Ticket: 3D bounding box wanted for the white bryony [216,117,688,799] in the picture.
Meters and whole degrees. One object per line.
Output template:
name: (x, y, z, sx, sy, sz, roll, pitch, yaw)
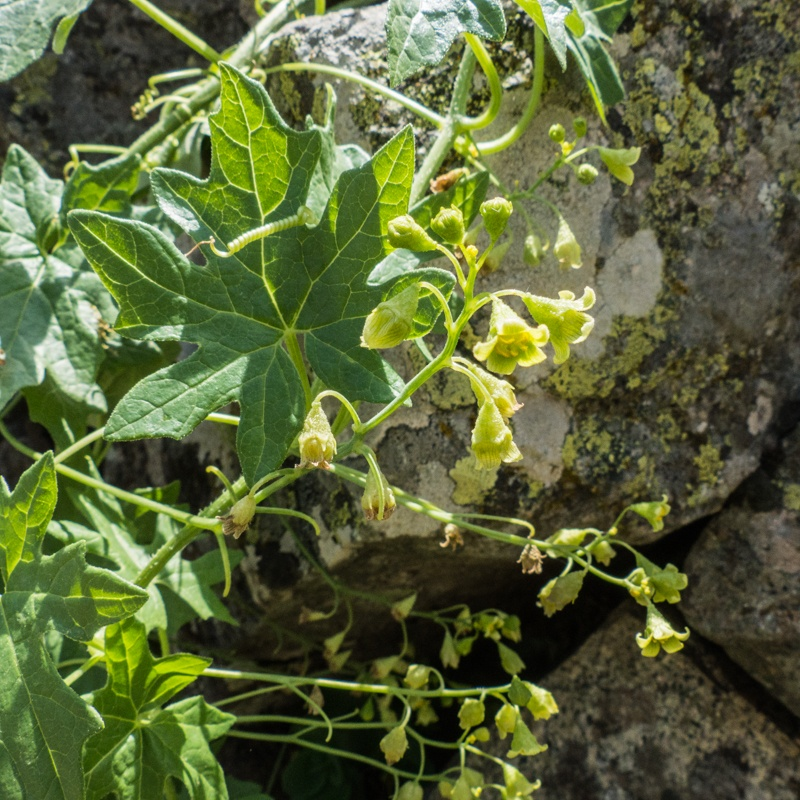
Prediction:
white bryony: (0.050, 0.034, 2.962, 1.235, 1.008, 1.460, 11, 101, 4)
